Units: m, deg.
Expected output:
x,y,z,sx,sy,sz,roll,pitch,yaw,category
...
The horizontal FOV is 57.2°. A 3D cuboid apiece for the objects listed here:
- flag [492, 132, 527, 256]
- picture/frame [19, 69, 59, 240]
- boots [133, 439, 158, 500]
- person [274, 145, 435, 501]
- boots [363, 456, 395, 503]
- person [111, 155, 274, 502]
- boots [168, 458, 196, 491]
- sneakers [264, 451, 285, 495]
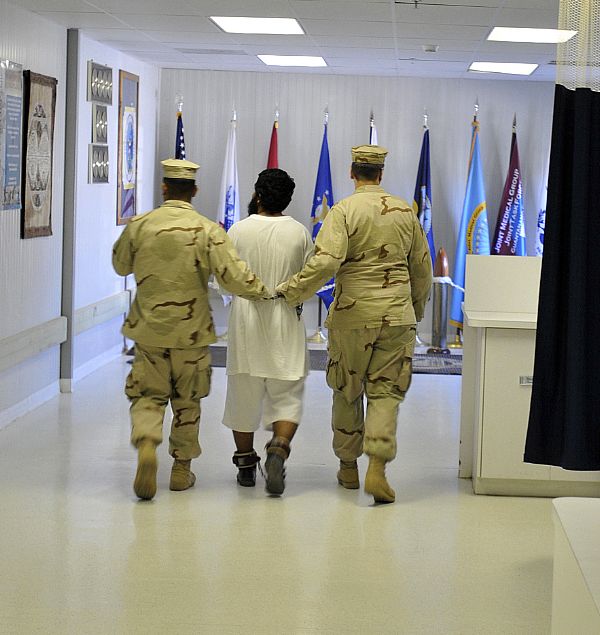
x,y,z,sx,sy,sz,roll,pitch,yaw,category
2.703,-1.635,7.054,0.403,1.658,0.272,1,-1,11,flag
-2.183,-1.348,4.620,0.154,1.379,0.738,1,-1,-10,picture/frame
-0.739,0.745,2.733,0.089,0.341,0.206,0,8,-14,boots
0.339,0.019,2.956,0.807,1.899,0.444,1,-1,-2,person
0.416,0.843,2.837,0.147,0.257,0.207,1,0,13,boots
-0.639,0.037,2.913,0.723,1.429,0.477,1,-1,-15,person
-0.638,0.869,3.051,0.073,0.178,0.212,1,4,8,boots
-0.132,0.809,2.852,0.070,0.277,0.102,-2,1,-2,sneakers
